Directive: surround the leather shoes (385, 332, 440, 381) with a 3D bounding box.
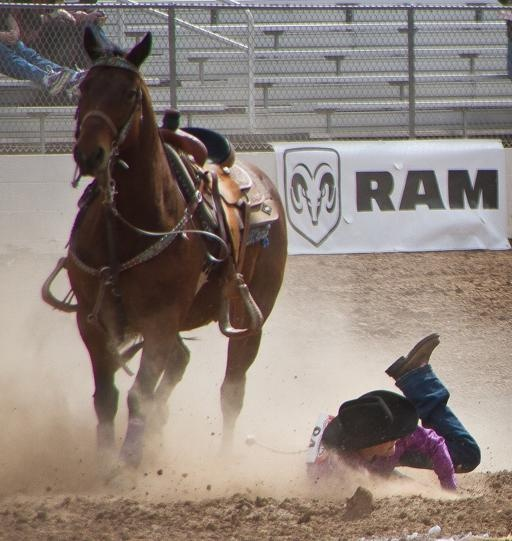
[{"bbox_3d":[1.114,0.632,9.527,0.141,0.333,0.112,44,-3,32],"label":"leather shoes"}]

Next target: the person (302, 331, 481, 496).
[{"bbox_3d":[0.928,1.039,8.728,0.740,0.640,1.125,1,11,14],"label":"person"}]

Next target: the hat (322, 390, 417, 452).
[{"bbox_3d":[0.735,0.985,8.623,0.429,0.198,0.401,-22,36,10],"label":"hat"}]

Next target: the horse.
[{"bbox_3d":[-0.527,0.116,8.689,0.911,2.725,3.325,8,-4,18],"label":"horse"}]
